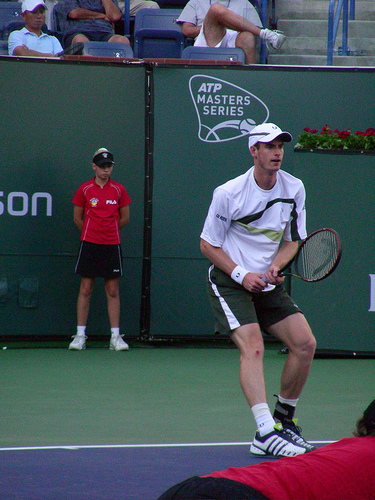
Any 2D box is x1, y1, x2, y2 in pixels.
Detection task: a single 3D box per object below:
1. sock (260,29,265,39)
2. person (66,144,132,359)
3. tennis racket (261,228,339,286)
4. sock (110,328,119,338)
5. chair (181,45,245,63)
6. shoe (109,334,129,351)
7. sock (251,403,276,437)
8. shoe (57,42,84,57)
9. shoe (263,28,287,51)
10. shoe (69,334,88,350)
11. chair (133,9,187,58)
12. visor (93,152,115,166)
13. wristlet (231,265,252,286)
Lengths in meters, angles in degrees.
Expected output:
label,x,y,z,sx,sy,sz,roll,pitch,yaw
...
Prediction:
label,x,y,z,sx,sy,sz,roll,pitch,yaw
sock,0.946,-2.704,8.050,0.054,0.108,0.118,1,0,7
person,-0.845,-0.035,6.158,0.609,1.889,0.643,1,0,-6
tennis racket,0.539,0.091,3.391,0.671,0.244,0.053,-13,18,-32
sock,-0.702,0.798,6.165,0.083,0.090,0.051,1,0,28
chair,0.316,-2.262,7.437,0.745,0.204,0.276,1,0,-7
shoe,-0.662,0.907,6.163,0.252,0.162,0.085,-3,-4,35
sock,0.377,0.834,3.168,0.121,0.159,0.074,1,0,7
shoe,-1.363,-2.362,7.561,0.235,0.107,0.394,-18,8,-37
shoe,1.107,-2.699,8.208,0.262,0.285,0.408,1,0,7
shoe,-1.053,0.889,6.194,0.150,0.139,0.142,1,0,-14
chair,-0.389,-2.947,8.744,0.664,0.727,1.474,1,0,-4
visor,-0.783,-0.843,6.003,0.182,0.101,0.244,-2,7,-14
wristlet,0.277,0.136,3.330,0.073,0.088,0.087,3,2,5
